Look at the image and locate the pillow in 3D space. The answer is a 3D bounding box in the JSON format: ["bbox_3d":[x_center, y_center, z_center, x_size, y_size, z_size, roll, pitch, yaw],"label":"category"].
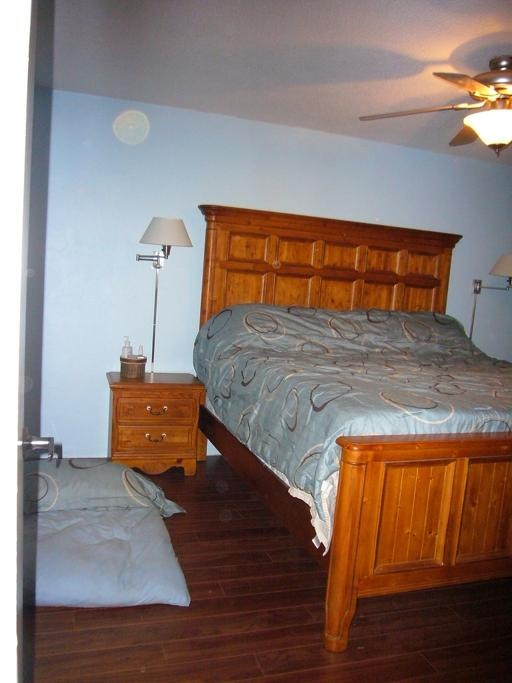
[{"bbox_3d":[-0.649,0.620,2.306,0.448,0.117,0.330,5,5,-28],"label":"pillow"}]

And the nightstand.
[{"bbox_3d":[-0.591,0.383,3.266,0.810,0.714,0.535,0,3,-17],"label":"nightstand"}]

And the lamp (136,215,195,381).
[{"bbox_3d":[-0.585,-0.259,3.230,0.328,0.931,0.445,6,4,-7],"label":"lamp"}]
